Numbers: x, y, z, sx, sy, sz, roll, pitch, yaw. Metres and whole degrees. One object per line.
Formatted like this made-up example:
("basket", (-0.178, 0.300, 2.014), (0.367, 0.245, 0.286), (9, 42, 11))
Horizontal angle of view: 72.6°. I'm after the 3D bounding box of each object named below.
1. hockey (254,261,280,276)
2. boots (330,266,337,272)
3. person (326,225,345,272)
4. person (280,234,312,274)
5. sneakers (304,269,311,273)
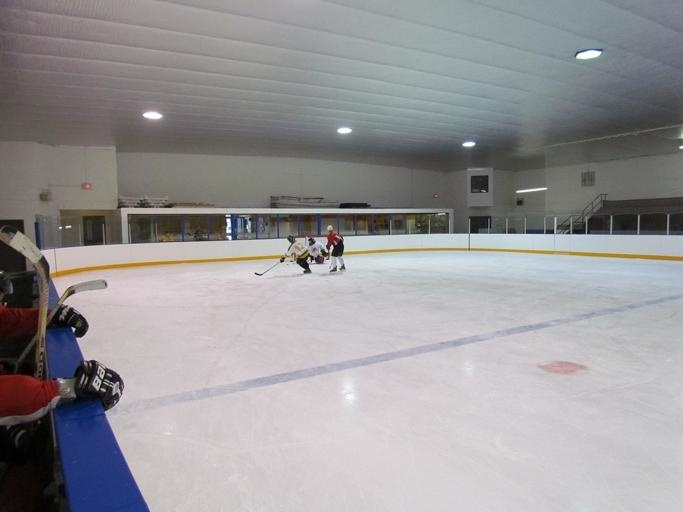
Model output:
("hockey", (-1.783, 0.342, 10.925), (0.208, 0.237, 0.718), (18, 23, 30))
("boots", (-0.197, 0.307, 10.932), (0.163, 0.121, 0.544), (-1, 10, -2))
("person", (-0.198, -0.135, 10.944), (0.451, 1.066, 0.448), (9, -16, -39))
("person", (-1.094, -0.009, 10.746), (0.680, 0.939, 0.398), (-3, 18, 9))
("sneakers", (-0.805, 0.326, 10.709), (0.172, 0.087, 0.215), (0, 10, 3))
